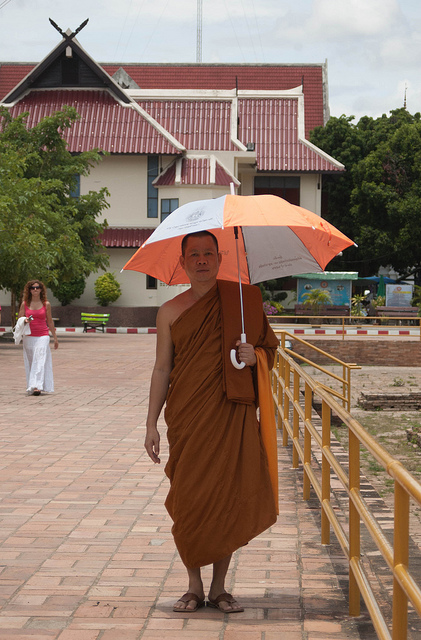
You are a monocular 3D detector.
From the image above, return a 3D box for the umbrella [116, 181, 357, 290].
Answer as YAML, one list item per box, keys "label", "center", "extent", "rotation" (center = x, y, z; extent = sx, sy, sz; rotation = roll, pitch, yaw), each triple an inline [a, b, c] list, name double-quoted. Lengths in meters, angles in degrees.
- label: "umbrella"
  center: [0.185, -0.558, 4.893]
  extent: [1.228, 0.619, 1.219]
  rotation: [1, 20, 24]

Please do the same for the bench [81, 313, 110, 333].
- label: "bench"
  center: [-4.839, 0.088, 30.692]
  extent: [1.011, 0.771, 0.852]
  rotation: [-1, 4, -13]

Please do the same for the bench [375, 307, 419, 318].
- label: "bench"
  center: [7.850, -0.391, 31.060]
  extent: [1.498, 0.349, 1.972]
  rotation: [-2, 4, -27]

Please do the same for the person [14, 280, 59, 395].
- label: "person"
  center: [-2.903, 0.269, 12.197]
  extent: [0.674, 1.866, 0.973]
  rotation: [-1, 4, -15]

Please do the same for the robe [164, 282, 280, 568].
- label: "robe"
  center: [0.045, 0.454, 3.254]
  extent: [0.494, 1.230, 0.276]
  rotation: [0, 4, -4]
